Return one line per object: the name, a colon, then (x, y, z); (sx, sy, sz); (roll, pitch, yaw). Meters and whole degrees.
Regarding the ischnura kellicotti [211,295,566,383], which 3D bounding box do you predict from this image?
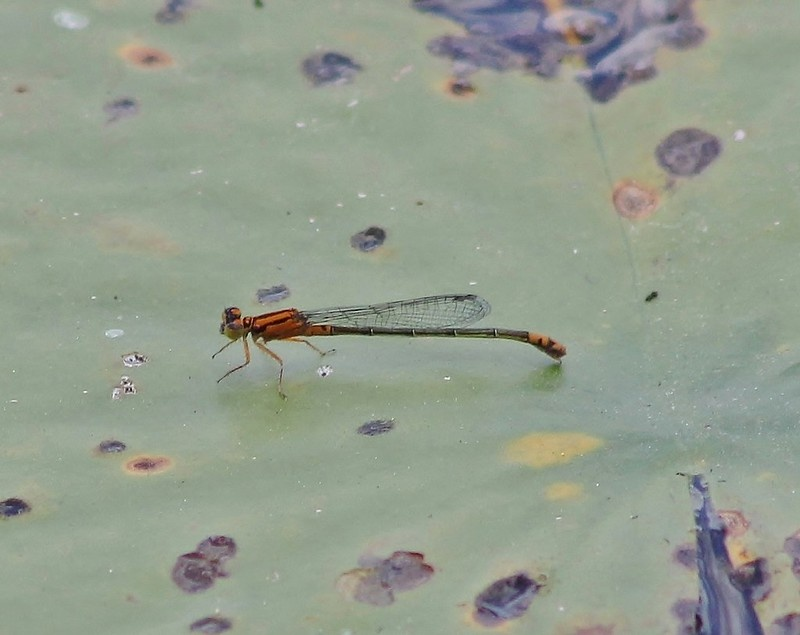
ischnura kellicotti: (-0.165, 0.163, 7.963); (3.020, 0.943, 0.374); (0, -75, 2)
